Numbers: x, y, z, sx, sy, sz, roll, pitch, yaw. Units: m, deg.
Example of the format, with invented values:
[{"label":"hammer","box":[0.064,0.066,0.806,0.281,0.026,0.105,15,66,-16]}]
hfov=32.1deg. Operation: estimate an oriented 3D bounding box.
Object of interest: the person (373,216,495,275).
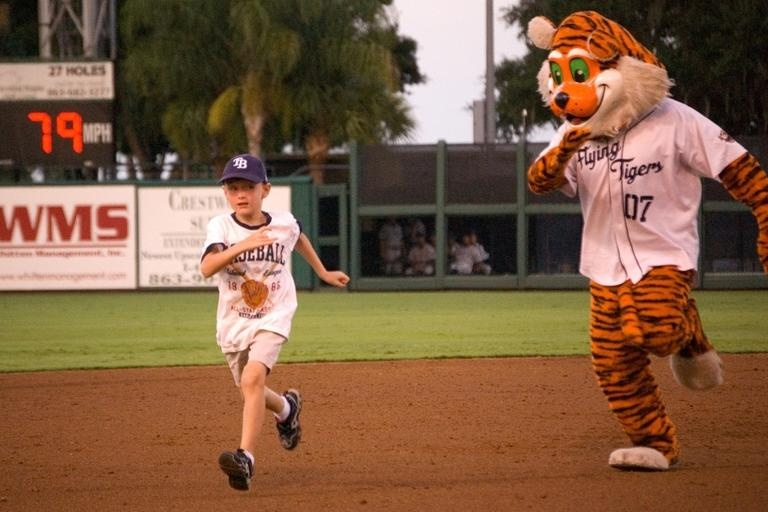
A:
[{"label":"person","box":[0.962,-0.177,27.304,2.015,0.674,1.134,0,-2,0]}]

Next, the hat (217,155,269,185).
[{"label":"hat","box":[-1.730,-1.066,16.420,0.548,0.338,0.330,-2,13,-10]}]
